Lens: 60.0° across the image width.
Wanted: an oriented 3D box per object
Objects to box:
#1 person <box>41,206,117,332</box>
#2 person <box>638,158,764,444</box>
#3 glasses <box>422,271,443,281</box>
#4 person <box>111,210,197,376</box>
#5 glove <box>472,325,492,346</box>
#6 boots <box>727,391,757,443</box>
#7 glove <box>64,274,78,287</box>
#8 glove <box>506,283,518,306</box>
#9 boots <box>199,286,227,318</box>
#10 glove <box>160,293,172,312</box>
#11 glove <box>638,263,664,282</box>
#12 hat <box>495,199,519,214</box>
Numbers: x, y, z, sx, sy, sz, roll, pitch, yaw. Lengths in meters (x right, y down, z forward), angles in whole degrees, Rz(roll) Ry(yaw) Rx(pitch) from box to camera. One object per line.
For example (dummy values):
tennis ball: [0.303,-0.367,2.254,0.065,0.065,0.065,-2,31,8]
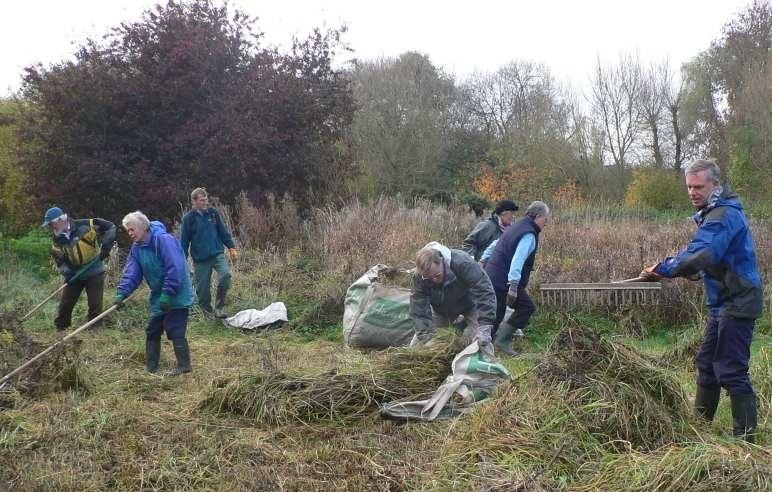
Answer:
person: [-5.347,0.400,11.753,1.053,2.134,0.641,0,1,-24]
person: [4.341,0.680,8.772,1.064,3.648,0.572,1,1,26]
glasses: [0.711,0.453,9.974,0.314,0.131,0.169,0,1,-13]
person: [-3.624,0.728,10.556,1.054,2.538,0.578,1,1,16]
glove: [1.431,1.284,9.695,0.347,0.271,0.206,0,1,-26]
boots: [4.643,2.207,8.642,0.333,0.644,0.283,1,1,15]
glove: [-5.447,0.595,11.567,0.266,0.214,0.085,1,1,12]
glove: [2.048,0.784,10.828,0.145,0.373,0.194,0,1,10]
boots: [-3.388,1.103,13.048,0.578,0.326,0.747,4,-30,-14]
glove: [-3.414,0.869,10.332,0.203,0.250,0.188,-4,1,42]
glove: [3.633,0.379,9.240,0.233,0.216,0.443,-5,9,1]
hat: [2.153,-0.699,11.759,0.314,0.170,0.229,-13,10,-18]
